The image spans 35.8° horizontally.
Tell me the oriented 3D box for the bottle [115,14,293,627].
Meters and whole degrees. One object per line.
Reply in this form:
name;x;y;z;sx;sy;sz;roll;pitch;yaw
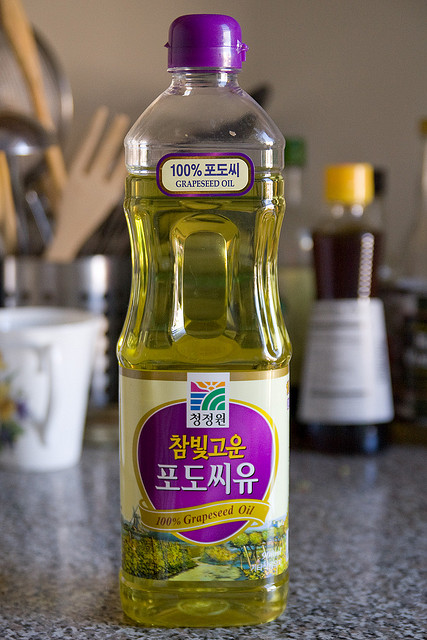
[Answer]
bottle;-0.008;0.013;0.441;0.122;0.371;0.099;-1;7;-6

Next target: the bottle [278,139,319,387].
bottle;0.088;-0.057;0.692;0.054;0.218;0.041;1;8;-2
